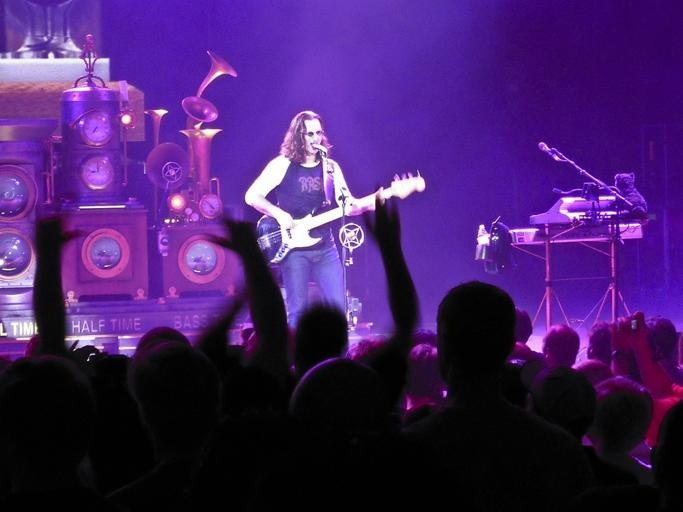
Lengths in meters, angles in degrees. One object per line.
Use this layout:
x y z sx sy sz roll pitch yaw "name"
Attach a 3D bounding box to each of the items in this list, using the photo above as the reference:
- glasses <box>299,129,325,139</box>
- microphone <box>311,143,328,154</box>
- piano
-0.246 -1.111 7.206 0.266 0.074 0.113 -1 4 -34 "glasses"
-0.174 -0.941 6.997 0.084 0.037 0.141 10 1 24 "microphone"
2.183 -0.340 7.544 0.930 0.341 0.727 -2 0 26 "piano"
